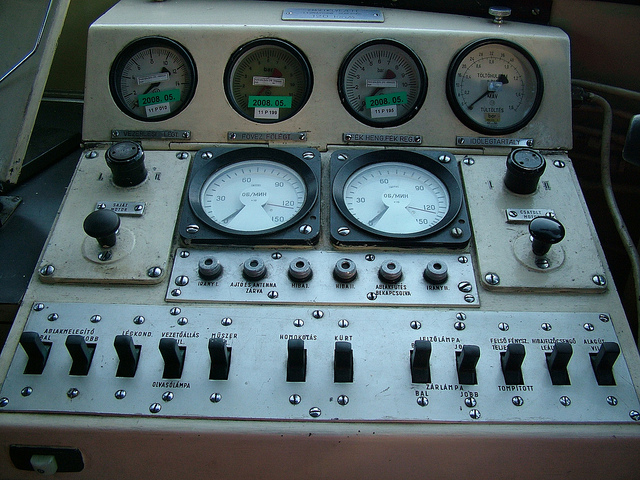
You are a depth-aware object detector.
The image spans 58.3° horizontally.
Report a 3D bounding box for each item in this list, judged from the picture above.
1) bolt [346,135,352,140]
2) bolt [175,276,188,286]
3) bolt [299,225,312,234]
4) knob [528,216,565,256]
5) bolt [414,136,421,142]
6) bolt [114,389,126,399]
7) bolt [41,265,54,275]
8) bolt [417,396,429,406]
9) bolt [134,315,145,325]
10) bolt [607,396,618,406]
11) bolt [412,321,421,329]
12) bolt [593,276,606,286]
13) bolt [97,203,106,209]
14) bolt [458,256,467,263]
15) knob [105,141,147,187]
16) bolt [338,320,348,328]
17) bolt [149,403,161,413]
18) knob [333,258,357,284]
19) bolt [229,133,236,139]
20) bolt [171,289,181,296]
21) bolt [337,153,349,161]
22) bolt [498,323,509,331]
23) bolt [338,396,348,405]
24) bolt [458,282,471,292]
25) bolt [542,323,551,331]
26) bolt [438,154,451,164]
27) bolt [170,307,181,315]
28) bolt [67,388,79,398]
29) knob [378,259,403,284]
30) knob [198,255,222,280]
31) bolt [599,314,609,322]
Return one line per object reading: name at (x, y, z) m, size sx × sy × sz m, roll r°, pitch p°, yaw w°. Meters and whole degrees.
bolt at (0.115, -0.411, 2.304) m, size 0.017 × 0.018 × 0.005 m, roll 6°, pitch -9°, yaw 1°
bolt at (-0.471, 0.140, 1.965) m, size 0.044 × 0.034 × 0.017 m, roll 2°, pitch -8°, yaw 14°
bolt at (-0.055, -0.035, 2.063) m, size 0.029 × 0.030 × 0.010 m, roll 2°, pitch -27°, yaw -2°
knob at (0.770, -0.022, 1.990) m, size 0.112 × 0.147 × 0.130 m, roll 4°, pitch -7°, yaw -2°
bolt at (0.390, -0.406, 2.306) m, size 0.021 × 0.021 × 0.005 m, roll -1°, pitch -12°, yaw -3°
bolt at (-0.611, 0.475, 1.763) m, size 0.021 × 0.022 × 0.005 m, roll -7°, pitch -25°, yaw -10°
bolt at (-0.932, 0.103, 1.975) m, size 0.043 × 0.034 × 0.017 m, roll 2°, pitch -8°, yaw 11°
bolt at (0.313, 0.492, 1.750) m, size 0.030 × 0.027 × 0.010 m, roll 3°, pitch -8°, yaw 6°
bolt at (-0.591, 0.262, 1.887) m, size 0.033 × 0.029 × 0.015 m, roll 5°, pitch -8°, yaw -13°
bolt at (0.895, 0.493, 1.760) m, size 0.023 × 0.024 × 0.005 m, roll -6°, pitch -38°, yaw 0°
bolt at (0.314, 0.278, 1.875) m, size 0.024 × 0.024 × 0.011 m, roll 3°, pitch -8°, yaw 7°
bolt at (0.957, 0.139, 1.971) m, size 0.029 × 0.031 × 0.007 m, roll 8°, pitch -30°, yaw 9°
bolt at (-0.800, -0.126, 2.115) m, size 0.033 × 0.023 × 0.019 m, roll -2°, pitch -9°, yaw 36°
bolt at (0.502, 0.069, 2.024) m, size 0.031 × 0.024 × 0.012 m, roll 4°, pitch -7°, yaw -1°
knob at (-0.720, -0.289, 2.143) m, size 0.144 × 0.172 × 0.095 m, roll 5°, pitch -8°, yaw -12°
bolt at (0.075, 0.274, 1.873) m, size 0.031 × 0.025 × 0.012 m, roll 3°, pitch -7°, yaw 5°
bolt at (-0.499, 0.510, 1.742) m, size 0.032 × 0.027 × 0.013 m, roll 5°, pitch -8°, yaw -7°
knob at (0.087, 0.106, 1.949) m, size 0.073 × 0.077 × 0.044 m, roll -23°, pitch -17°, yaw 2°
bolt at (-0.350, -0.418, 2.304) m, size 0.013 × 0.018 × 0.006 m, roll 5°, pitch -14°, yaw -1°
bolt at (-0.483, 0.178, 1.939) m, size 0.030 × 0.022 × 0.014 m, roll 5°, pitch -8°, yaw -8°
bolt at (0.092, -0.323, 2.229) m, size 0.028 × 0.030 × 0.008 m, roll 12°, pitch -25°, yaw 0°
bolt at (0.602, 0.285, 1.882) m, size 0.033 × 0.025 × 0.014 m, roll 2°, pitch -8°, yaw 9°
bolt at (0.070, 0.489, 1.749) m, size 0.028 × 0.024 × 0.010 m, roll 4°, pitch -8°, yaw -5°
bolt at (0.492, 0.161, 1.958) m, size 0.043 × 0.034 × 0.020 m, roll 3°, pitch -8°, yaw 6°
bolt at (0.743, 0.286, 1.884) m, size 0.027 × 0.025 × 0.012 m, roll 2°, pitch -8°, yaw 9°
bolt at (0.486, -0.317, 2.245) m, size 0.049 × 0.043 × 0.019 m, roll 3°, pitch -7°, yaw 2°
bolt at (-0.478, 0.236, 1.903) m, size 0.020 × 0.021 × 0.005 m, roll 9°, pitch -26°, yaw 3°
bolt at (-0.756, 0.471, 1.765) m, size 0.034 × 0.027 × 0.011 m, roll 2°, pitch -8°, yaw 11°
knob at (0.239, 0.108, 1.952) m, size 0.071 × 0.075 × 0.040 m, roll 10°, pitch -24°, yaw 4°
knob at (-0.380, 0.093, 1.978) m, size 0.076 × 0.090 × 0.074 m, roll 0°, pitch -8°, yaw 25°
bolt at (0.943, 0.260, 1.908) m, size 0.032 × 0.025 × 0.012 m, roll 4°, pitch -8°, yaw -5°
